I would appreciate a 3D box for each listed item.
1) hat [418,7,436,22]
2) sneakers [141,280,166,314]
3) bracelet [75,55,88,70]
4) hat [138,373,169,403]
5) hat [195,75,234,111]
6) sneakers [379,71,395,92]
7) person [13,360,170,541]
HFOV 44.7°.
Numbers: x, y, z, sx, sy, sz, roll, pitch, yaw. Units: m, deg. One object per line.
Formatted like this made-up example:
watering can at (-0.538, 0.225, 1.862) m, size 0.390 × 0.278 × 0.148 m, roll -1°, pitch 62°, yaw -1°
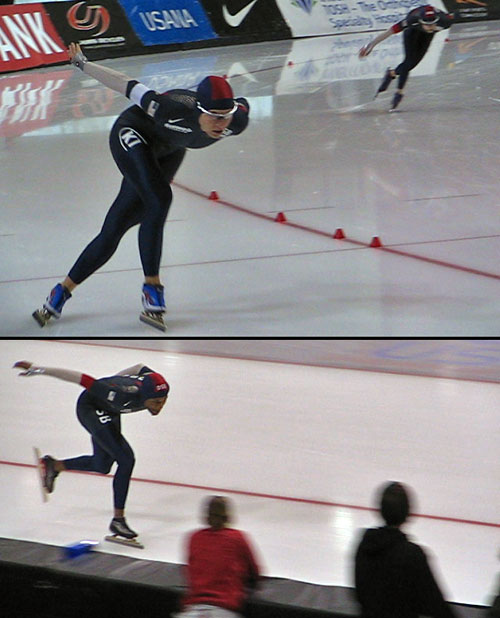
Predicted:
hat at (0.752, -1.239, 2.595) m, size 0.056 × 0.057 × 0.066 m, roll -3°, pitch -6°, yaw 7°
sneakers at (-0.464, -0.051, 2.885) m, size 0.077 × 0.079 × 0.192 m, roll -2°, pitch 28°, yaw -15°
bracelet at (-0.841, -1.214, 3.022) m, size 0.062 × 0.065 × 0.045 m, roll 4°, pitch 15°, yaw -1°
hat at (-0.378, 0.301, 2.375) m, size 0.091 × 0.083 × 0.119 m, roll 11°, pitch -5°, yaw -34°
hat at (-0.177, -0.941, 2.733) m, size 0.181 × 0.155 × 0.165 m, roll -14°, pitch 50°, yaw -20°
sneakers at (0.605, -0.994, 2.671) m, size 0.043 × 0.101 × 0.048 m, roll 29°, pitch 12°, yaw 13°
person at (-0.605, 0.545, 2.407) m, size 0.655 × 0.614 × 0.589 m, roll -3°, pitch -11°, yaw 42°
